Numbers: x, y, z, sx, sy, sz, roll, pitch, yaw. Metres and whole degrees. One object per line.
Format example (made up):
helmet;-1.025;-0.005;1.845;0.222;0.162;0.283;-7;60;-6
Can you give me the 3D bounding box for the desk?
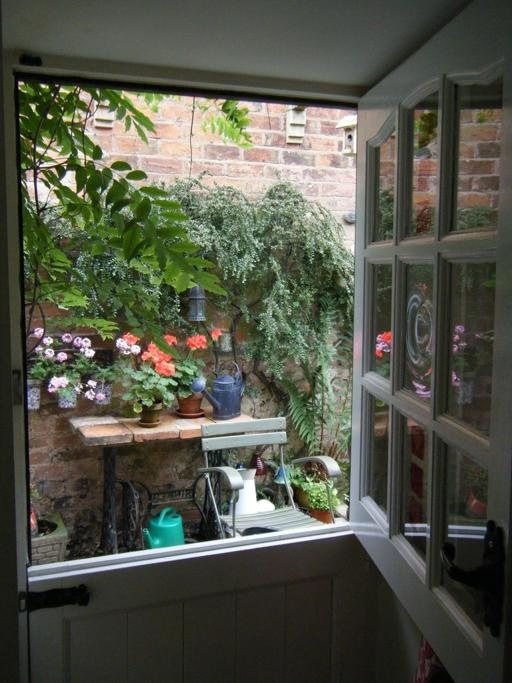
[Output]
desk;-0.613;0.819;3.108;0.481;0.647;0.816;4;-13;-38
